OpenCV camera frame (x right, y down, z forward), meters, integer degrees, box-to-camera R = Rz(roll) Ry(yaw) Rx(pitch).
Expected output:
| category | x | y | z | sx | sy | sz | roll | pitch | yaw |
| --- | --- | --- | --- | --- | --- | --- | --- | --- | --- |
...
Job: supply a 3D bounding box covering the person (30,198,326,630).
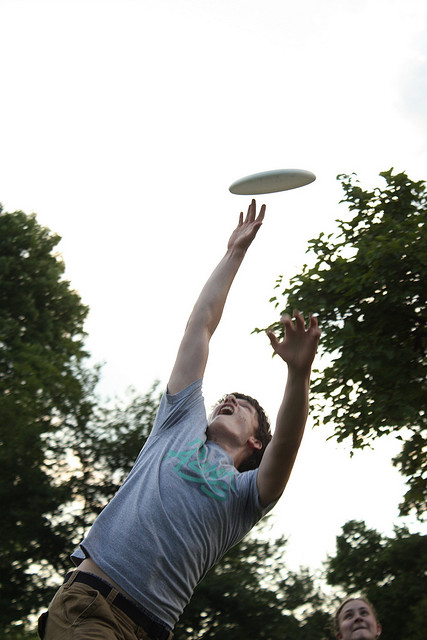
| category | x | y | z | sx | sy | sz | roll | pitch | yaw |
| --- | --- | --- | --- | --- | --- | --- | --- | --- | --- |
| person | 0.099 | 0.657 | 6.216 | 1.114 | 3.341 | 1.327 | 24 | -36 | 2 |
